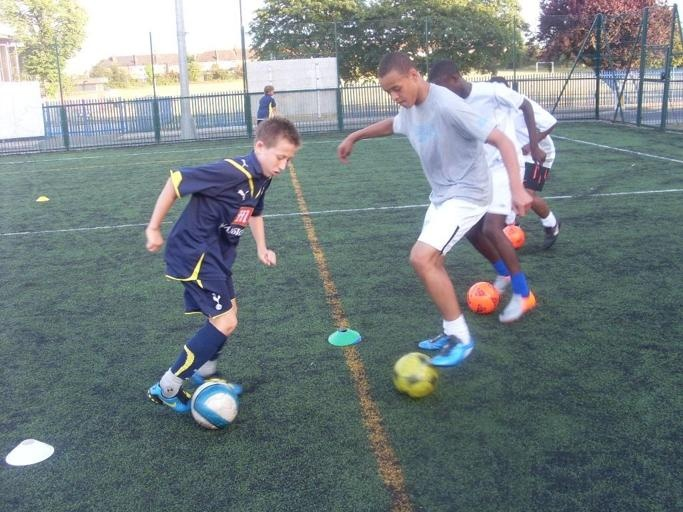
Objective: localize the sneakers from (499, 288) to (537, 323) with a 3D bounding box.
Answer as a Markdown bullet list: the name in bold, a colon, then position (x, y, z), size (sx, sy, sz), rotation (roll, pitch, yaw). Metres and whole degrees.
- **sneakers**: position (1.464, 0.439, 4.185), size (0.447, 0.181, 0.161), rotation (-28, 21, -33)

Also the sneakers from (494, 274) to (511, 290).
- **sneakers**: position (1.565, 0.245, 4.855), size (0.159, 0.159, 0.128), rotation (5, 25, -42)

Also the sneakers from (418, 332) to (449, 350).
- **sneakers**: position (0.701, 0.666, 3.828), size (0.266, 0.115, 0.096), rotation (-3, 27, 33)

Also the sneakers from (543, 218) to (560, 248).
- **sneakers**: position (2.499, -0.244, 5.914), size (0.168, 0.395, 0.142), rotation (-7, 22, -12)

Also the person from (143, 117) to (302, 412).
- **person**: position (-0.805, 0.072, 3.175), size (1.142, 1.784, 0.532), rotation (-14, 20, -24)

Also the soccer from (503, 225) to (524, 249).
- **soccer**: position (1.886, -0.211, 5.411), size (0.203, 0.171, 0.171), rotation (35, 10, 27)

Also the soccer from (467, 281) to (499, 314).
- **soccer**: position (1.286, 0.382, 4.511), size (0.257, 0.262, 0.295), rotation (12, -5, -4)

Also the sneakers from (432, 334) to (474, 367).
- **sneakers**: position (0.796, 0.671, 3.485), size (0.338, 0.177, 0.123), rotation (-24, 26, -29)

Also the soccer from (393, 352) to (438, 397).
- **soccer**: position (0.497, 0.786, 3.319), size (0.262, 0.263, 0.263), rotation (18, -14, 35)

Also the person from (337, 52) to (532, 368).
- **person**: position (0.737, -0.374, 3.490), size (0.809, 2.065, 0.926), rotation (-7, 18, -5)
